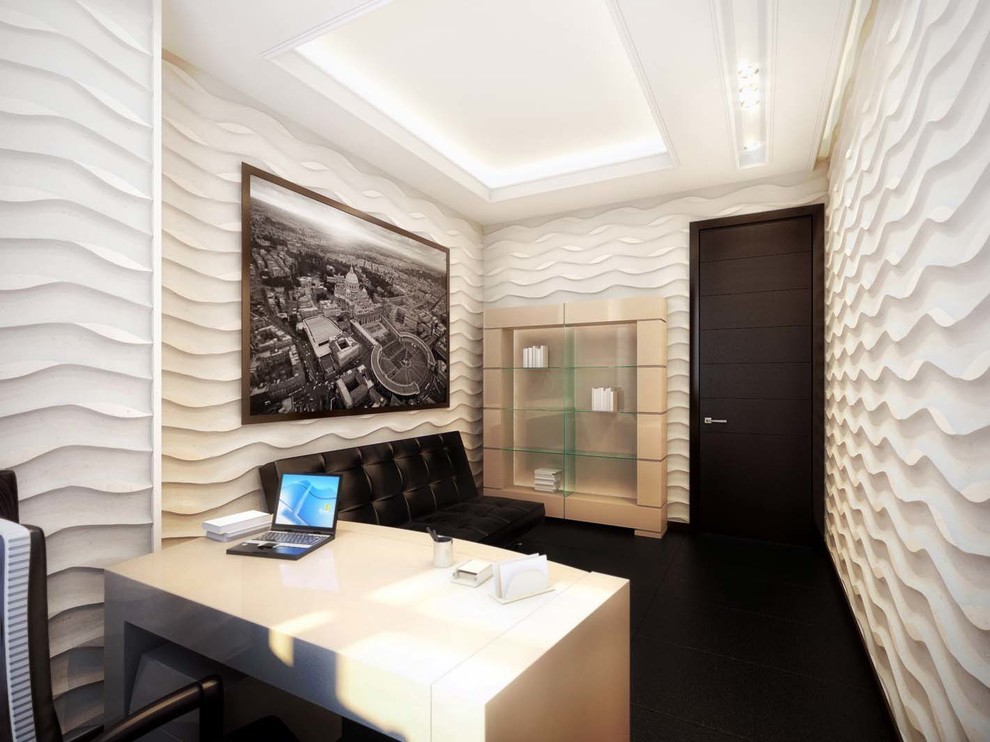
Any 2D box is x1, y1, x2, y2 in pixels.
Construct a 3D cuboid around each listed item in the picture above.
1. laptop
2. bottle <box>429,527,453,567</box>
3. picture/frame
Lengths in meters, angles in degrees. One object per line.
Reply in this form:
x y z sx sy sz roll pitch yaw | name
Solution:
-1.010 0.704 3.230 0.353 0.306 0.400 0 -5 18 | laptop
-0.238 0.825 3.016 0.090 0.180 0.167 0 -3 -18 | bottle
-1.106 -0.577 4.597 0.039 1.405 1.977 0 -2 25 | picture/frame
